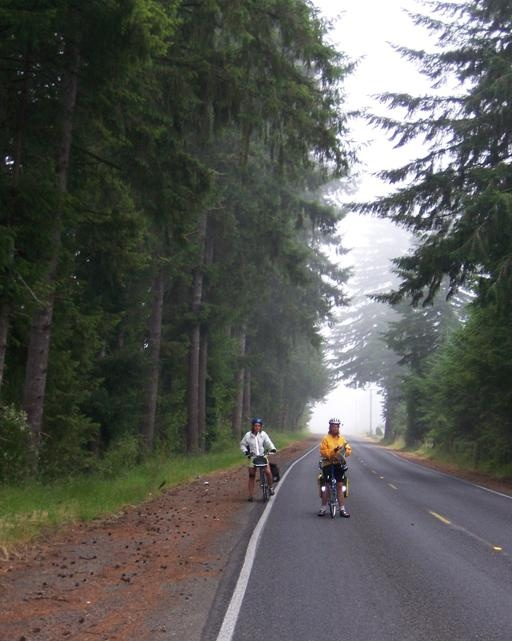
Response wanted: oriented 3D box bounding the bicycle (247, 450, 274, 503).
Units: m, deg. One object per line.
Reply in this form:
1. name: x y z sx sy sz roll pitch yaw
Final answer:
1. bicycle: 0.103 3.505 14.893 0.439 0.898 1.243 -1 -13 0

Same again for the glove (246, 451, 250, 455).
1. glove: -0.197 2.950 14.487 0.099 0.089 0.288 2 -17 1

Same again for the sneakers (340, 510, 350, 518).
1. sneakers: 1.683 3.660 12.384 0.078 0.248 0.294 2 -20 -15

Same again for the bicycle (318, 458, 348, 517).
1. bicycle: 1.500 3.281 12.579 0.542 1.042 0.976 0 -13 8
